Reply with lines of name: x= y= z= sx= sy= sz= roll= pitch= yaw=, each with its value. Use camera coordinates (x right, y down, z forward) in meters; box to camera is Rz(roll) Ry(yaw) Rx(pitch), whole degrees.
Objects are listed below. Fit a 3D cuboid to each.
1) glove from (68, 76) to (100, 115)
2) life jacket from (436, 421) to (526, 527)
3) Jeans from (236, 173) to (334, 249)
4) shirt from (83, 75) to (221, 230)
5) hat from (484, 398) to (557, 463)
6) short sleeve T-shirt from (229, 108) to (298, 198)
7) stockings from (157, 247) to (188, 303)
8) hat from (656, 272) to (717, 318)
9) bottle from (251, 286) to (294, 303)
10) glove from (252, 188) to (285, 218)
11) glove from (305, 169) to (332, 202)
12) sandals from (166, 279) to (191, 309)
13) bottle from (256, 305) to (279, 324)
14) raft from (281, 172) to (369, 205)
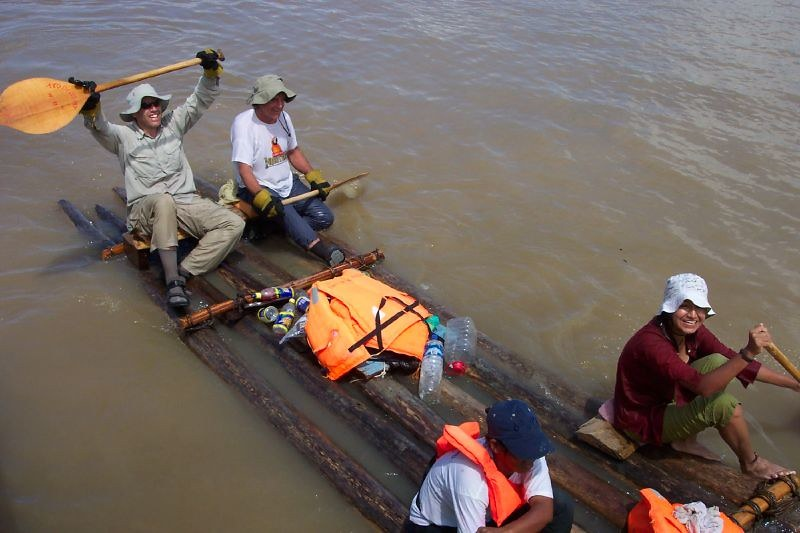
glove: x=-4.259 y=-2.364 z=9.178 sx=0.373 sy=0.189 sz=0.505 roll=3 pitch=86 yaw=0
life jacket: x=0.798 y=1.987 z=6.699 sx=0.399 sy=0.915 sz=0.945 roll=-40 pitch=103 yaw=-11
Jeans: x=-1.853 y=-0.850 z=10.701 sx=1.576 sy=0.419 sz=0.817 roll=40 pitch=49 yaw=12
shirt: x=-3.589 y=-1.880 z=9.857 sx=2.344 sy=1.207 sz=1.996 roll=-18 pitch=97 yaw=-44
hat: x=1.162 y=1.610 z=6.618 sx=0.377 sy=0.337 sz=0.693 roll=-28 pitch=59 yaw=-38
short sleeve T-shirt: x=-2.096 y=-1.723 z=10.339 sx=0.667 sy=1.161 sz=1.160 roll=30 pitch=43 yaw=28
stockings: x=-3.174 y=0.156 z=9.367 sx=0.308 sy=0.307 sz=1.104 roll=-12 pitch=47 yaw=-18
hat: x=3.219 y=0.270 z=7.543 sx=0.232 sy=0.346 sz=0.440 roll=58 pitch=18 yaw=10
bottle: x=-1.746 y=0.378 z=9.265 sx=0.597 sy=0.199 sz=0.180 roll=-7 pitch=44 yaw=-10
glove: x=-1.968 y=-0.957 z=10.078 sx=0.450 sy=0.182 sz=0.379 roll=39 pitch=30 yaw=20
glove: x=-1.310 y=-1.342 z=10.711 sx=0.316 sy=0.211 sz=0.532 roll=-35 pitch=71 yaw=-11
sandals: x=-3.063 y=0.364 z=9.265 sx=0.200 sy=0.257 sz=0.583 roll=-9 pitch=22 yaw=-25
bottle: x=-1.818 y=0.637 z=9.192 sx=0.241 sy=0.174 sz=0.238 roll=-3 pitch=96 yaw=-30
raft: x=-1.267 y=-1.292 z=11.139 sx=1.923 sy=0.105 sz=0.268 roll=-19 pitch=49 yaw=-33
